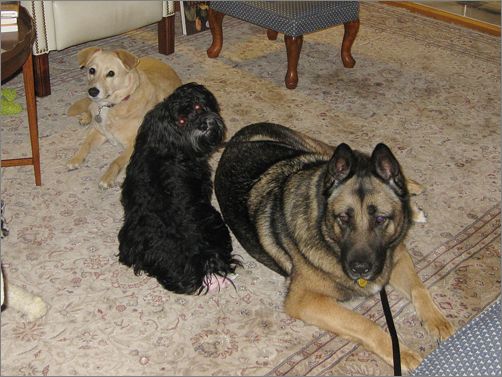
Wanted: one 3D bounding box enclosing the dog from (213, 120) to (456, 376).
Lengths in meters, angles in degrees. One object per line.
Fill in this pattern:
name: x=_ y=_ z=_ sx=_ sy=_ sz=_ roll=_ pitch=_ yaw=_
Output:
dog: x=0.439 y=0.234 z=2.950 sx=1.211 sy=0.865 sz=1.488 roll=-27 pitch=58 yaw=-23
